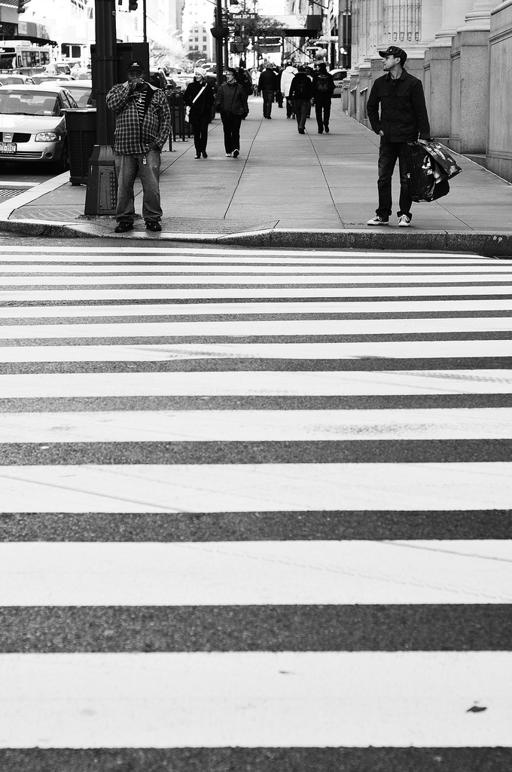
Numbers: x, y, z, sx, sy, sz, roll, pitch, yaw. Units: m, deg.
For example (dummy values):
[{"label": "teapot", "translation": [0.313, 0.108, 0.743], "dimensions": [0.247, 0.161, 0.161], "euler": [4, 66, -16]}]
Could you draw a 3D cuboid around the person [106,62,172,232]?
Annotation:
[{"label": "person", "translation": [-1.203, -2.348, 14.183], "dimensions": [0.616, 1.706, 0.762], "euler": [0, 11, -9]}]

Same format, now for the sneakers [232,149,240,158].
[{"label": "sneakers", "translation": [-0.370, -4.023, 24.481], "dimensions": [0.091, 0.169, 0.347], "euler": [0, 10, 2]}]

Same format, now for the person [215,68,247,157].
[{"label": "person", "translation": [-0.439, -4.751, 24.810], "dimensions": [0.516, 1.466, 1.541], "euler": [2, 13, -2]}]

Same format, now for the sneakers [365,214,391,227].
[{"label": "sneakers", "translation": [1.231, -1.655, 14.276], "dimensions": [0.235, 0.153, 0.107], "euler": [4, 17, -19]}]

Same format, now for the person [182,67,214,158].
[{"label": "person", "translation": [-1.011, -4.812, 25.075], "dimensions": [0.387, 1.734, 0.397], "euler": [-2, -14, 1]}]

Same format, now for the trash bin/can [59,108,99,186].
[{"label": "trash bin/can", "translation": [-2.325, -3.156, 18.673], "dimensions": [0.381, 1.041, 1.279], "euler": [0, 14, -8]}]

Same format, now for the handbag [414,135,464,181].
[{"label": "handbag", "translation": [1.785, -2.226, 13.702], "dimensions": [0.120, 0.451, 0.329], "euler": [-33, 1, 37]}]

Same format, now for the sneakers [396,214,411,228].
[{"label": "sneakers", "translation": [1.499, -1.663, 14.272], "dimensions": [0.100, 0.197, 0.400], "euler": [0, 5, 5]}]
